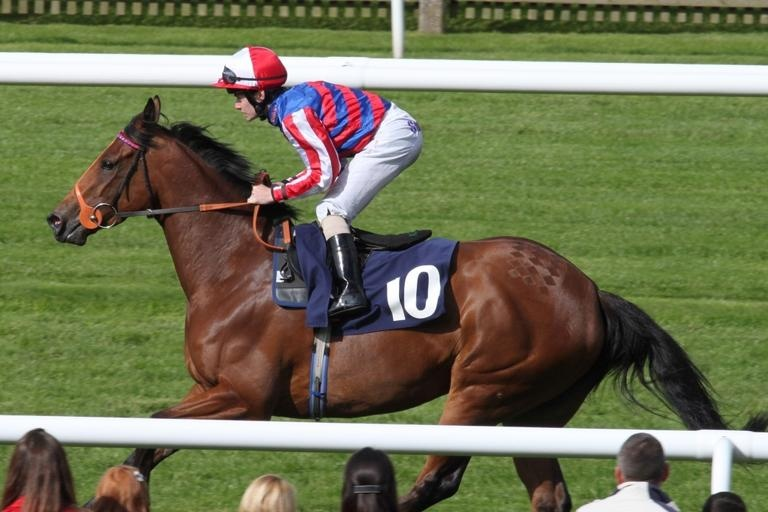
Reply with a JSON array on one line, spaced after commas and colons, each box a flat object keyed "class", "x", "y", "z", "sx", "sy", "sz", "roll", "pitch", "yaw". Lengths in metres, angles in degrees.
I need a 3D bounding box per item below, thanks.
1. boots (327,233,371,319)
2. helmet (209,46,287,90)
[{"class": "boots", "x": -0.218, "y": 0.106, "z": 9.668, "sx": 0.232, "sy": 0.473, "sz": 0.224, "roll": -1, "pitch": 13, "yaw": -2}, {"class": "helmet", "x": -0.842, "y": -1.132, "z": 9.839, "sx": 0.507, "sy": 0.194, "sz": 0.323, "roll": -6, "pitch": 29, "yaw": -26}]
